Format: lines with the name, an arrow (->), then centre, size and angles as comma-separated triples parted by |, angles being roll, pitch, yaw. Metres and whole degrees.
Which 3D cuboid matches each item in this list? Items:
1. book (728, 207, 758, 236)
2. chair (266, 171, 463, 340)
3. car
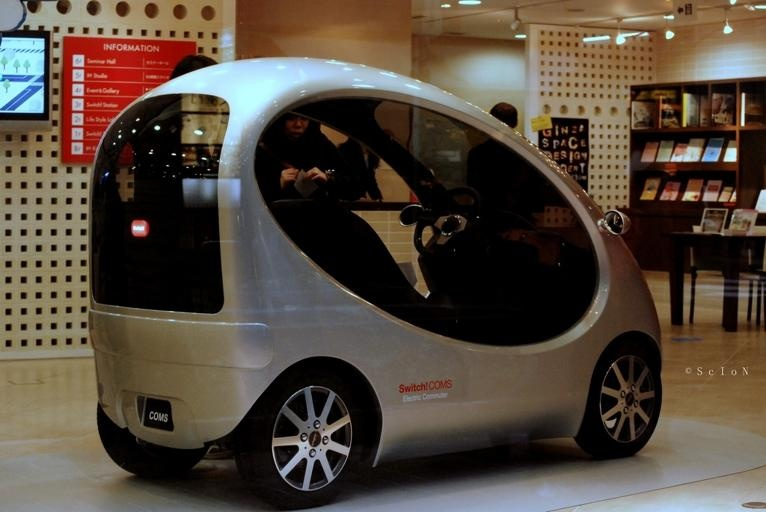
book -> 2.332, -0.232, 4.456 | 0.145, 0.170, 0.022 | -11, 29, -13
chair -> -0.079, 0.024, 2.911 | 0.810, 0.573, 0.255 | 1, 4, -13
car -> -0.037, 0.162, 3.034 | 2.089, 1.600, 1.002 | 0, 1, -37
